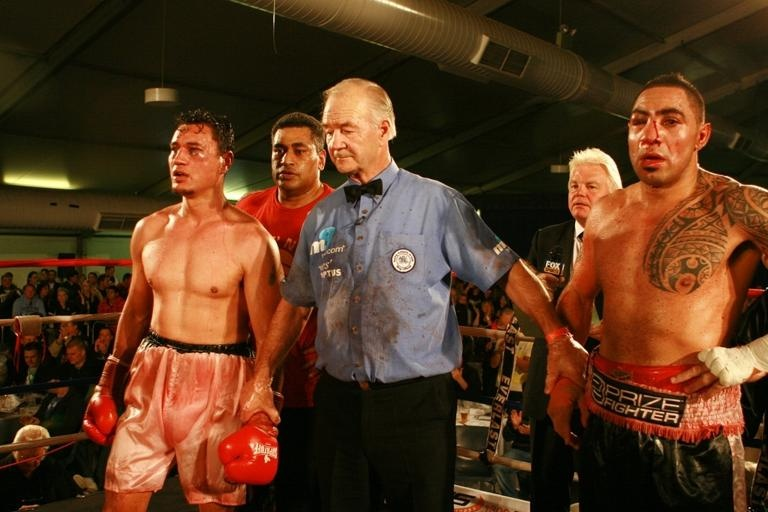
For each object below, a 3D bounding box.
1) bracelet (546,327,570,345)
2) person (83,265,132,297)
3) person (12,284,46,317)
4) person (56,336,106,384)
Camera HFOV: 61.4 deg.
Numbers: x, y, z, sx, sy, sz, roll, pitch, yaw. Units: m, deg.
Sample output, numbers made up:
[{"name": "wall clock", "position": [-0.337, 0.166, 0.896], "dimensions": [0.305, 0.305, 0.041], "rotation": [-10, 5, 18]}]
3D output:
[{"name": "bracelet", "position": [0.900, 0.399, 3.354], "dimensions": [0.094, 0.036, 0.089], "rotation": [-24, -3, -6]}, {"name": "person", "position": [-5.059, 0.397, 11.485], "dimensions": [0.925, 0.401, 1.033], "rotation": [2, -5, -44]}, {"name": "person", "position": [-5.556, 0.837, 10.112], "dimensions": [0.488, 0.786, 0.457], "rotation": [3, 4, -26]}, {"name": "person", "position": [-3.550, 1.214, 7.621], "dimensions": [0.710, 0.437, 0.302], "rotation": [-12, -4, 38]}]
